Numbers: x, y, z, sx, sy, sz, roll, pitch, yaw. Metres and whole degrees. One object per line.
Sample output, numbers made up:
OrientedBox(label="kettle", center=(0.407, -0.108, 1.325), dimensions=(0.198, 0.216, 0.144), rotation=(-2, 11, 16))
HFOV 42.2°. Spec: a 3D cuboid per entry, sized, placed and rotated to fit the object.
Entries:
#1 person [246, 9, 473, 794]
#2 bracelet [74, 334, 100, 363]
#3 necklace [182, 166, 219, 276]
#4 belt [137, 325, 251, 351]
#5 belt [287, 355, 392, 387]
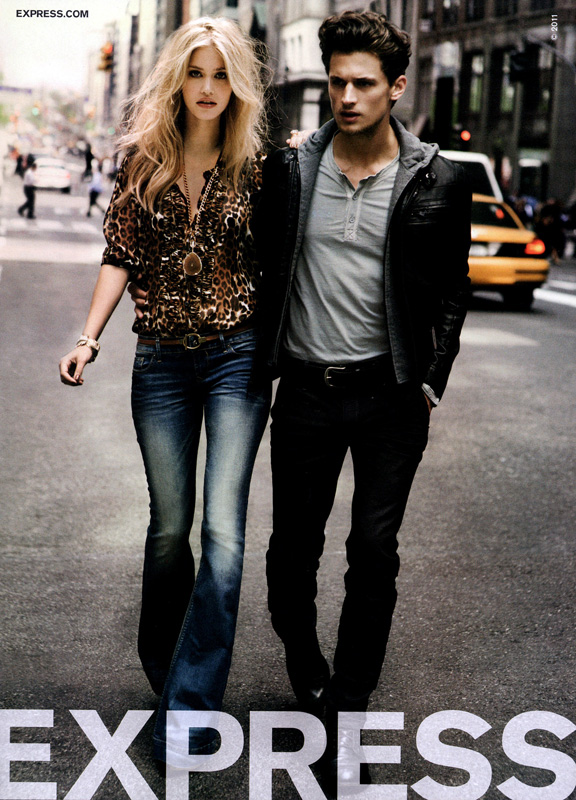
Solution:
OrientedBox(label="person", center=(0.175, -0.045, 1.934), dimensions=(0.417, 1.820, 0.412), rotation=(-1, 5, -39))
OrientedBox(label="bracelet", center=(-0.536, -0.136, 2.006), dimensions=(0.069, 0.085, 0.043), rotation=(14, 49, -24))
OrientedBox(label="necklace", center=(-0.223, -0.455, 1.895), dimensions=(0.050, 0.291, 0.105), rotation=(3, 4, 17))
OrientedBox(label="belt", center=(-0.242, -0.161, 1.910), dimensions=(0.291, 0.064, 0.106), rotation=(2, 4, -3))
OrientedBox(label="belt", center=(0.126, -0.069, 1.872), dimensions=(0.276, 0.083, 0.084), rotation=(2, 4, 6))
